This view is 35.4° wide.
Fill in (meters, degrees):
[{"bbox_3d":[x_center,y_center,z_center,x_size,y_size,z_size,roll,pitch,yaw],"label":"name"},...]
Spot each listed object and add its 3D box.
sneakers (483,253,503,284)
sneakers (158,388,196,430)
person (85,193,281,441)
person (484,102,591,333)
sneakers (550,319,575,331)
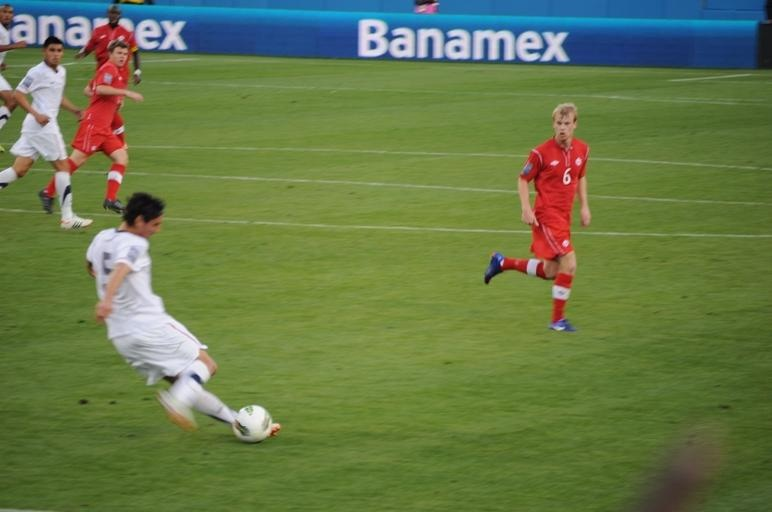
[{"bbox_3d":[1.215,0.143,13.657,0.235,0.408,0.140,14,50,-9],"label":"sneakers"},{"bbox_3d":[-1.843,1.365,10.735,0.241,0.412,0.170,-46,1,14],"label":"sneakers"},{"bbox_3d":[-2.061,0.474,10.705,1.278,2.079,0.613,1,12,-3],"label":"person"},{"bbox_3d":[1.679,-0.476,13.156,1.054,2.392,1.472,3,11,7],"label":"person"},{"bbox_3d":[1.847,0.743,12.683,0.336,0.100,0.097,2,2,4],"label":"sneakers"}]
